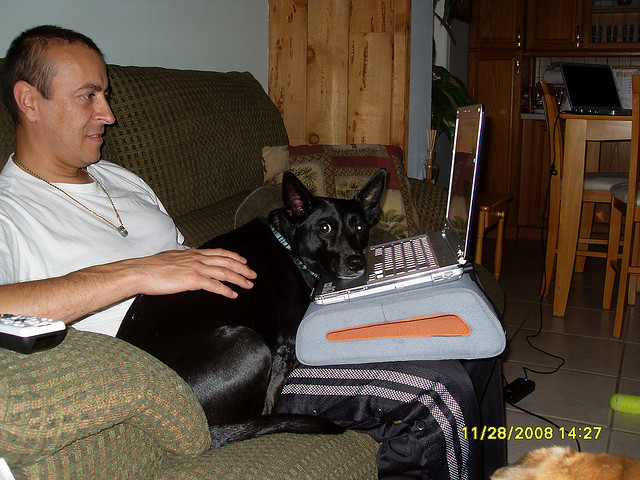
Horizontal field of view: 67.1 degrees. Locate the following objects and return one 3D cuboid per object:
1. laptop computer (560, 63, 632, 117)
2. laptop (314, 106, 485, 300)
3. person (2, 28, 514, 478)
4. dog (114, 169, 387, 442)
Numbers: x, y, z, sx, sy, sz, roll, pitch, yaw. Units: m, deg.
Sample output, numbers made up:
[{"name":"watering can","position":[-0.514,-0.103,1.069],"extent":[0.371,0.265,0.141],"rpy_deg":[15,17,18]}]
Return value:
[{"name":"laptop computer","position":[2.466,-1.346,4.281],"extent":[0.697,0.423,0.374],"rpy_deg":[-7,16,-30]},{"name":"laptop","position":[0.248,-0.105,1.372],"extent":[0.462,0.439,0.618],"rpy_deg":[-10,-2,14]},{"name":"person","position":[-0.324,-0.034,1.686],"extent":[1.772,1.422,0.959],"rpy_deg":[2,12,8]},{"name":"dog","position":[-0.147,0.241,1.547],"extent":[0.529,0.517,0.809],"rpy_deg":[21,36,26]}]
